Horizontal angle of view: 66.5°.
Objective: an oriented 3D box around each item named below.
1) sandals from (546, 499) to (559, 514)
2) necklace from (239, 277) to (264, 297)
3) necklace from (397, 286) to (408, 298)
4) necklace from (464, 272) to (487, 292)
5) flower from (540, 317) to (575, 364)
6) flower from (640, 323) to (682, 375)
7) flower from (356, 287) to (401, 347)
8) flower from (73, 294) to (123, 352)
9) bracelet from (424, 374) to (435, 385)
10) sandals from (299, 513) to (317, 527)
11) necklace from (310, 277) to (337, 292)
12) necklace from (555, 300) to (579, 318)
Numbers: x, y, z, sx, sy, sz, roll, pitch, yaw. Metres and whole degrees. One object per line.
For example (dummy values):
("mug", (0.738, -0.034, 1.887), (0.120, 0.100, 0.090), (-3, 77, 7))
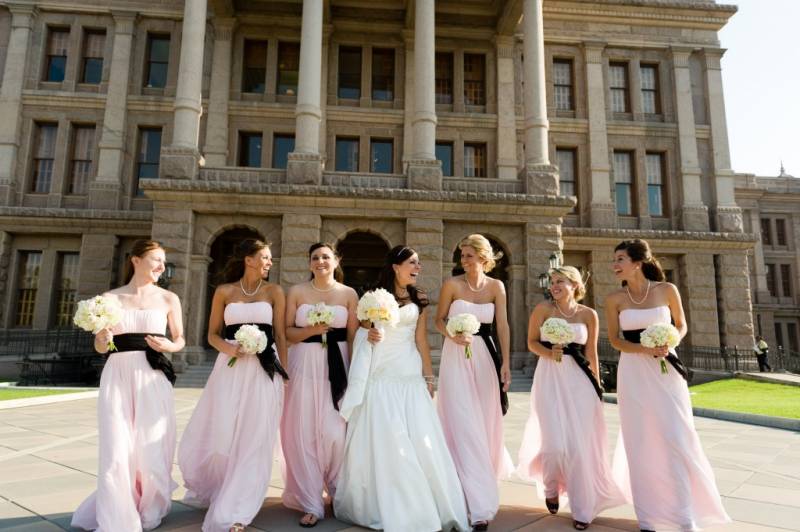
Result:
("sandals", (2.630, 4.110, 10.466), (0.212, 0.261, 0.111), (-3, -6, 11))
("necklace", (-2.601, 0.345, 10.660), (0.270, 0.346, 0.046), (5, -25, -11))
("necklace", (0.038, 0.446, 10.708), (0.164, 0.217, 0.192), (-1, -1, -3))
("necklace", (1.366, 0.293, 10.960), (0.286, 0.394, 0.225), (3, -41, -18))
("flower", (2.781, 1.189, 10.777), (0.571, 0.547, 0.396), (-4, -6, 14))
("flower", (4.403, 1.414, 10.329), (0.665, 0.765, 0.595), (-7, -18, -13))
("flower", (-0.461, 0.921, 10.551), (0.903, 0.926, 0.831), (1, -6, -24))
("flower", (-4.937, 1.022, 10.160), (0.719, 0.690, 0.680), (-18, -9, 4))
("bracelet", (0.530, 2.000, 10.663), (0.197, 0.117, 0.155), (-1, 2, 8))
("sandals", (-1.482, 4.181, 10.032), (0.311, 0.178, 0.177), (-1, -6, -11))
("necklace", (-1.340, 0.320, 10.866), (0.294, 0.073, 0.306), (28, -48, -34))
("necklace", (2.996, 0.781, 11.039), (0.274, 0.378, 0.135), (-27, -9, 13))
